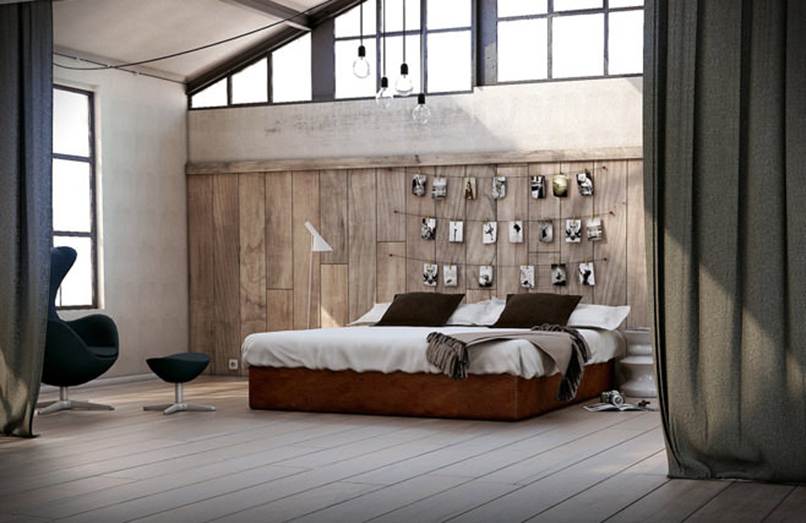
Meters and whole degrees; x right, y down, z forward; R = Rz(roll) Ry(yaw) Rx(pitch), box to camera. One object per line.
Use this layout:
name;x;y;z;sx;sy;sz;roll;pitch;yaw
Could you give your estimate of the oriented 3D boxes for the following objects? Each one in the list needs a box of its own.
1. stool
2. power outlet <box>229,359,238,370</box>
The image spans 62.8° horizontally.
stool;-2.221;1.159;6.457;0.621;0.571;0.562;-3;4;-27
power outlet;-2.302;1.372;8.892;0.150;0.152;0.029;-1;-6;18
